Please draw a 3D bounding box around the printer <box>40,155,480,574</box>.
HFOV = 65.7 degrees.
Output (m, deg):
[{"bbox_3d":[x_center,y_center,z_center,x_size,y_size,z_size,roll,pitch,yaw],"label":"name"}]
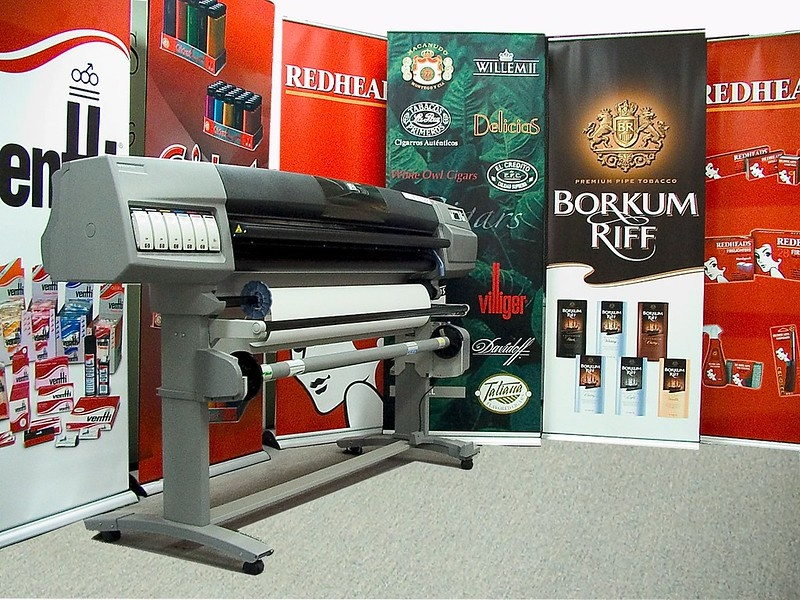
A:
[{"bbox_3d":[-0.708,0.337,3.044,0.998,1.403,2.146,1,1,32],"label":"printer"}]
